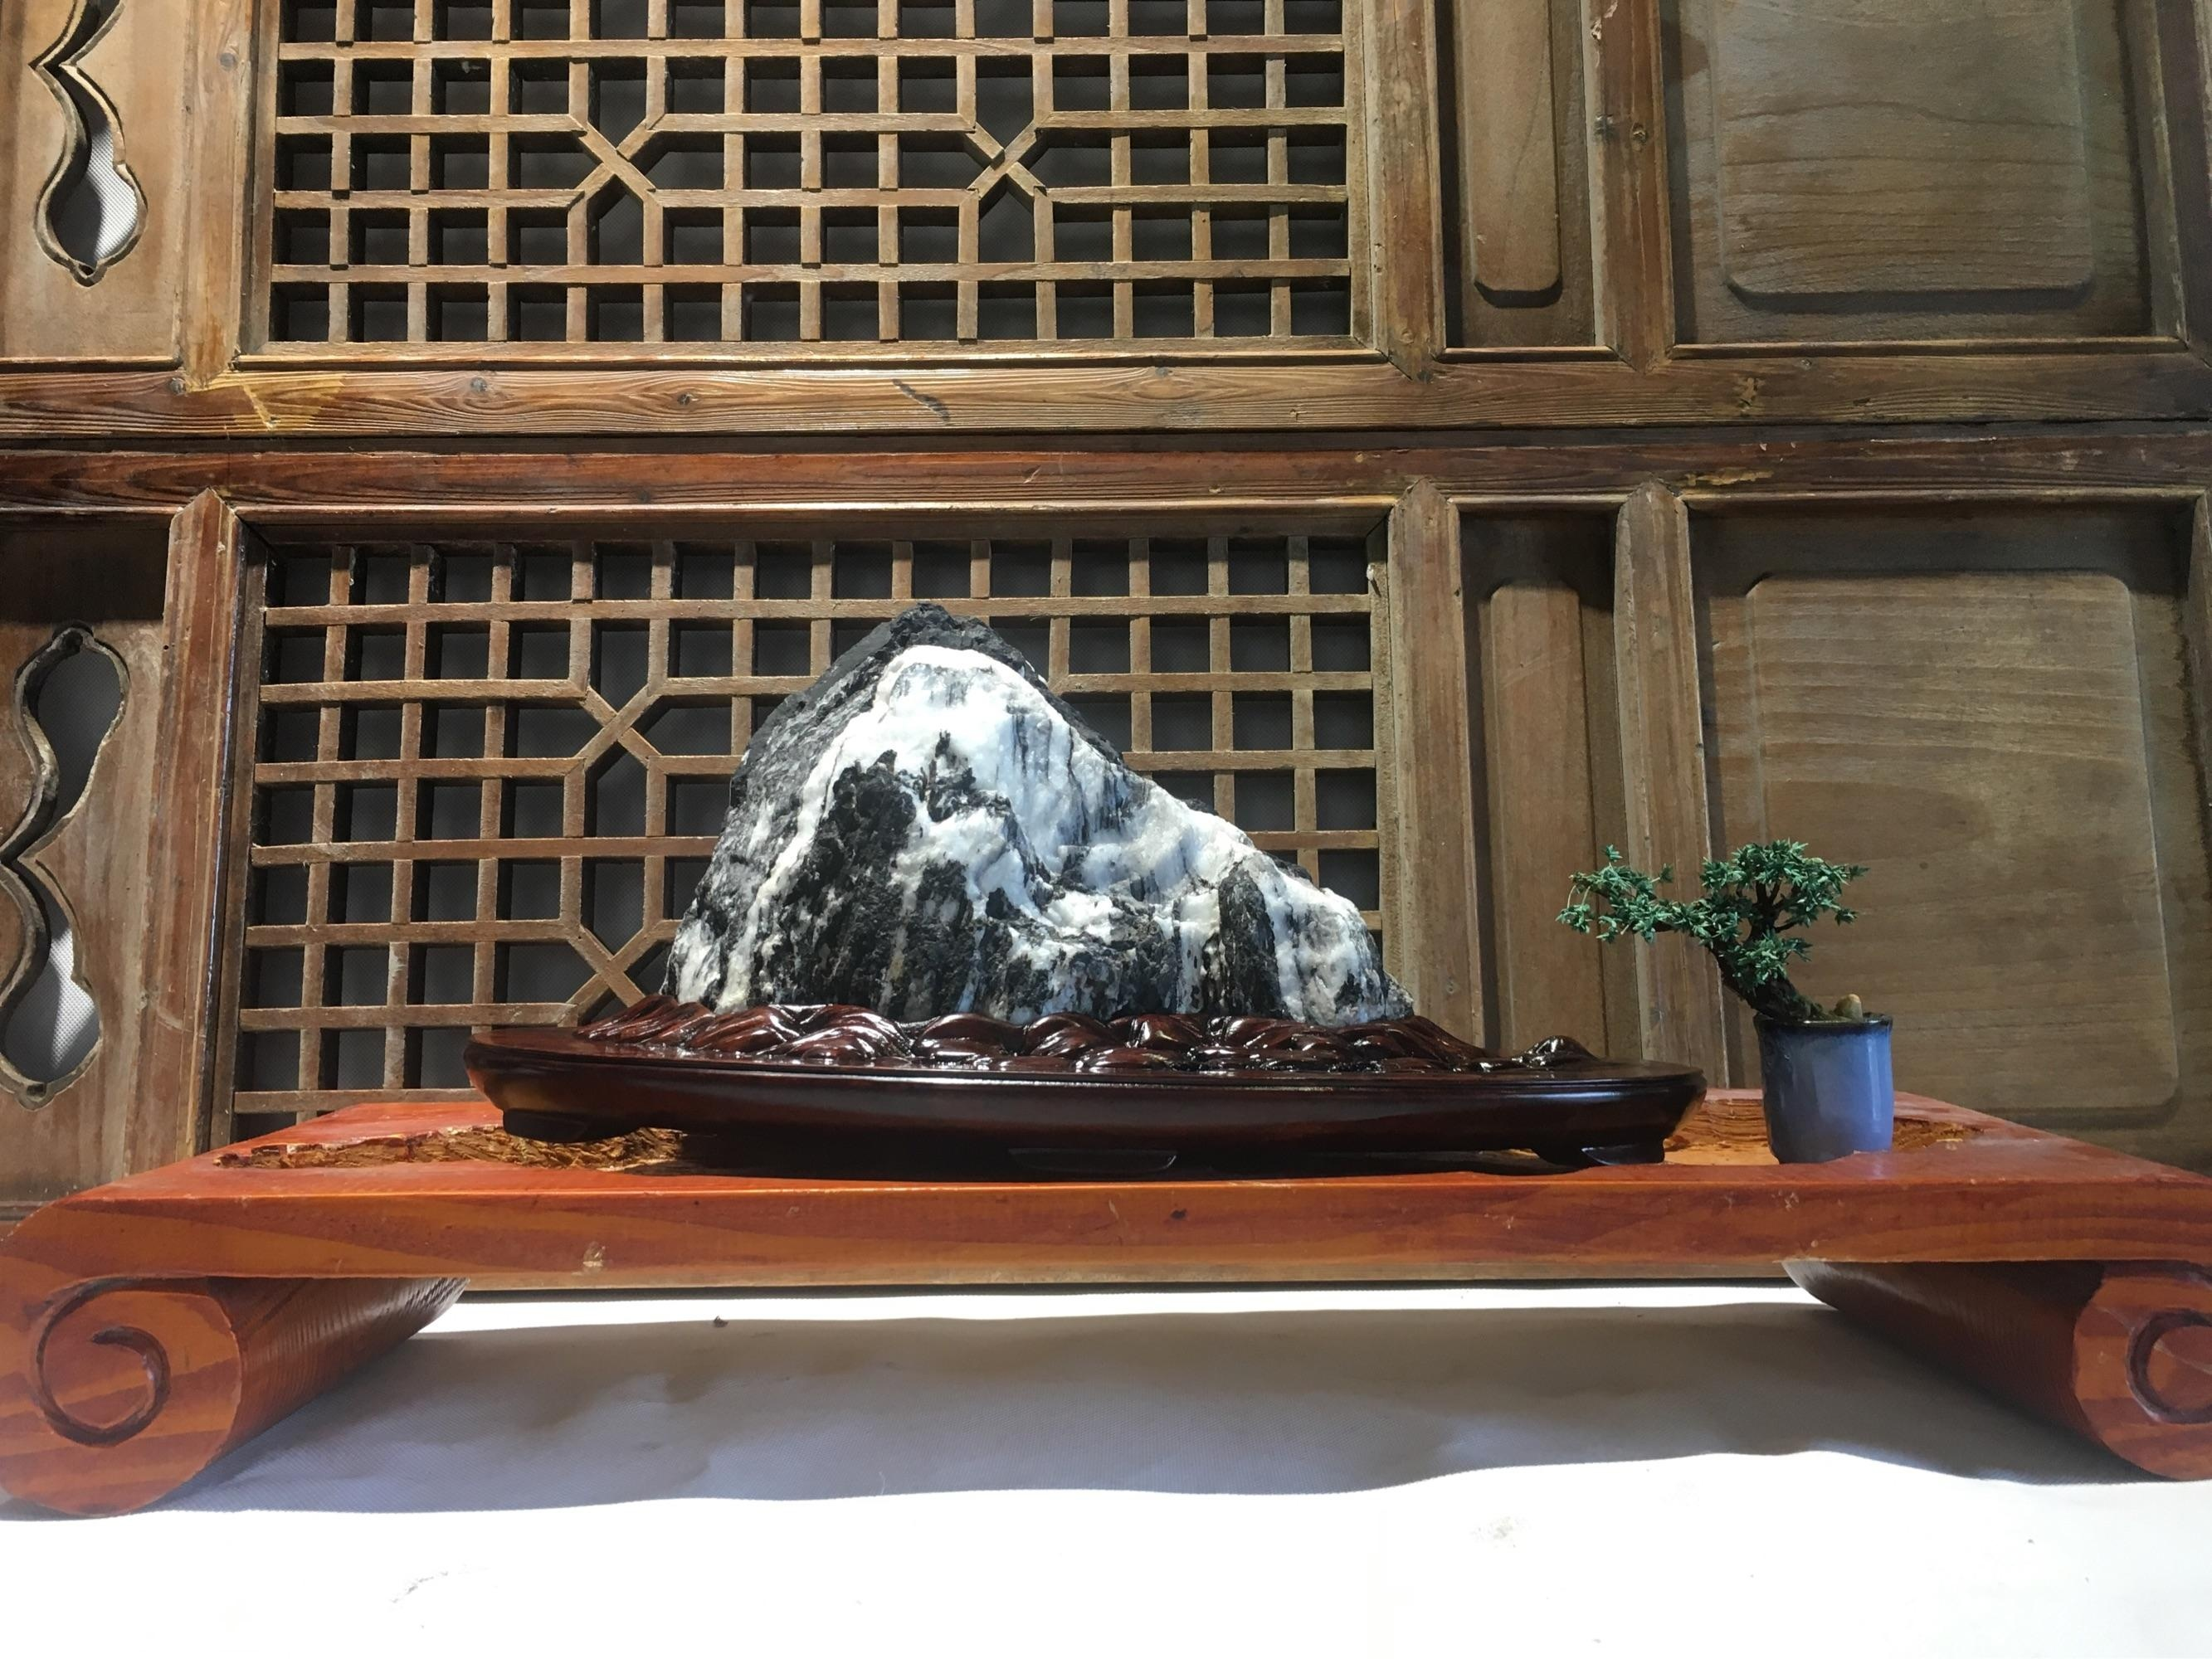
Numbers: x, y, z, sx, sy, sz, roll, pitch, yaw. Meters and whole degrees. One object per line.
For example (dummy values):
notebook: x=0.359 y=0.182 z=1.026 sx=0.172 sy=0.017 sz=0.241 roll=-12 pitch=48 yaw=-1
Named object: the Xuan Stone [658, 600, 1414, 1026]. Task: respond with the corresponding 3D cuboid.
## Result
Xuan Stone: x=-0.083 y=-0.024 z=2.790 sx=0.903 sy=0.573 sz=0.264 roll=2 pitch=-16 yaw=-7
